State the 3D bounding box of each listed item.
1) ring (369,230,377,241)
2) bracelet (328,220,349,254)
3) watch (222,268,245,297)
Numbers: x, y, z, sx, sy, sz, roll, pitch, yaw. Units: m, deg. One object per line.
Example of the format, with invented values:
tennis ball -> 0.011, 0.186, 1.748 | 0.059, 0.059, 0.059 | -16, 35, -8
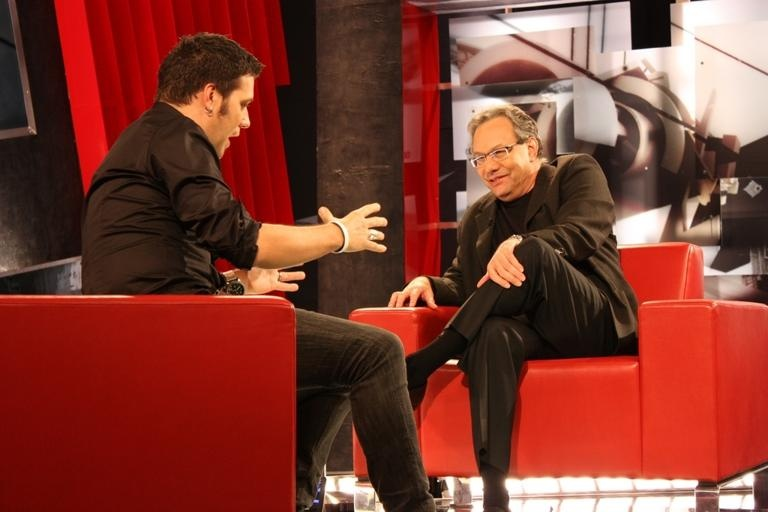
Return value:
ring -> -0.038, -0.064, 2.346 | 0.035, 0.021, 0.060 | 0, -3, 0
bracelet -> -0.127, -0.054, 2.321 | 0.032, 0.089, 0.078 | -4, -11, -28
watch -> -0.483, 0.100, 2.430 | 0.060, 0.093, 0.088 | 0, 3, 30
